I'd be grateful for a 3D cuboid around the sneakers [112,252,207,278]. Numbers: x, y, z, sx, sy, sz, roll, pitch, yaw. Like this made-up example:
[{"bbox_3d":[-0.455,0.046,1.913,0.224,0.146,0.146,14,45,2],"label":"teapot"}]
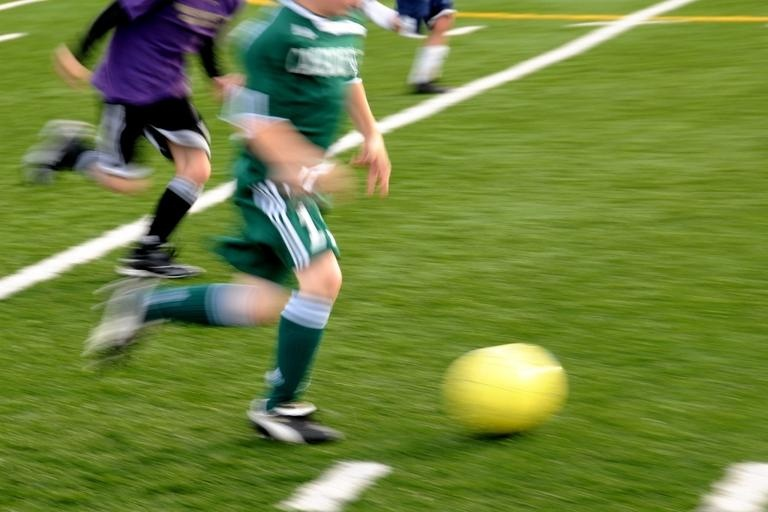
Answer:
[{"bbox_3d":[-1.204,0.058,3.494,0.604,0.117,0.136,-1,4,-7],"label":"sneakers"}]
